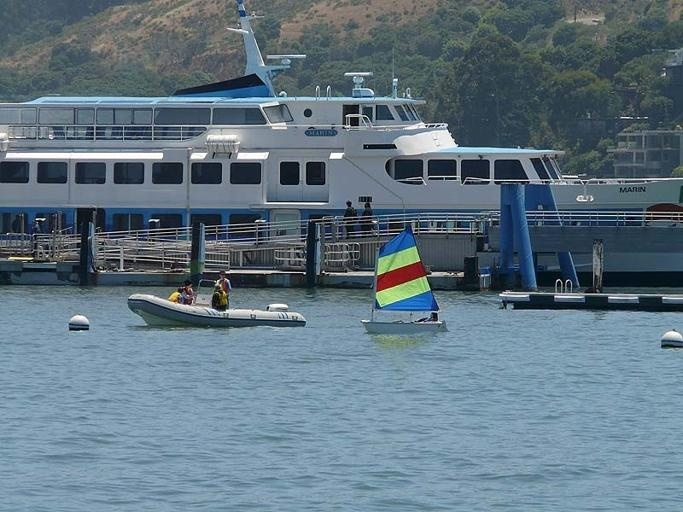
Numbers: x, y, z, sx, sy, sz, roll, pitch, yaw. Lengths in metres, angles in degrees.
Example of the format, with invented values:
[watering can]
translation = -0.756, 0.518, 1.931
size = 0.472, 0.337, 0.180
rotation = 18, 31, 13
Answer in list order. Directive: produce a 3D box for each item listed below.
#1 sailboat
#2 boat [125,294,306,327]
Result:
[sailboat]
translation = 4.041, 1.479, 123.155
size = 4.161, 6.862, 1.257
rotation = -2, -1, 0
[boat]
translation = -7.770, 3.928, 124.040
size = 9.313, 2.251, 6.575
rotation = -2, 7, -22
